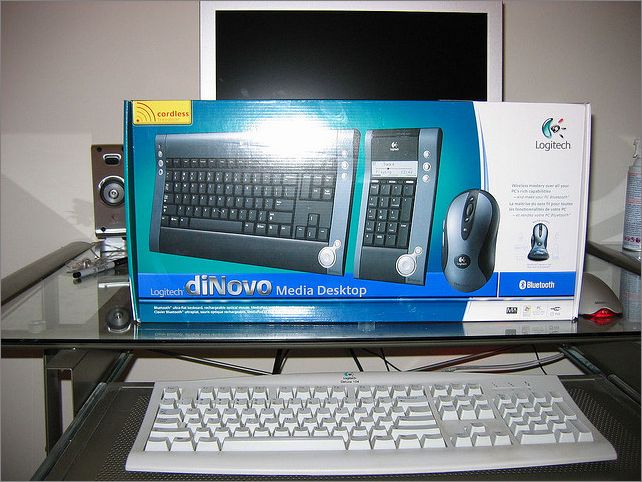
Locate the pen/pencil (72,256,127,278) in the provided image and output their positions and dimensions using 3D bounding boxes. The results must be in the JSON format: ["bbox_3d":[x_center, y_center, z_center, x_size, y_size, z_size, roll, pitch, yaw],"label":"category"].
[{"bbox_3d":[-0.563,0.070,1.334,0.017,0.018,0.125,51,33,9],"label":"pen/pencil"}]

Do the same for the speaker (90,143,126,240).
[{"bbox_3d":[-0.590,-0.134,1.447,0.105,0.258,0.070,1,11,-5],"label":"speaker"}]
